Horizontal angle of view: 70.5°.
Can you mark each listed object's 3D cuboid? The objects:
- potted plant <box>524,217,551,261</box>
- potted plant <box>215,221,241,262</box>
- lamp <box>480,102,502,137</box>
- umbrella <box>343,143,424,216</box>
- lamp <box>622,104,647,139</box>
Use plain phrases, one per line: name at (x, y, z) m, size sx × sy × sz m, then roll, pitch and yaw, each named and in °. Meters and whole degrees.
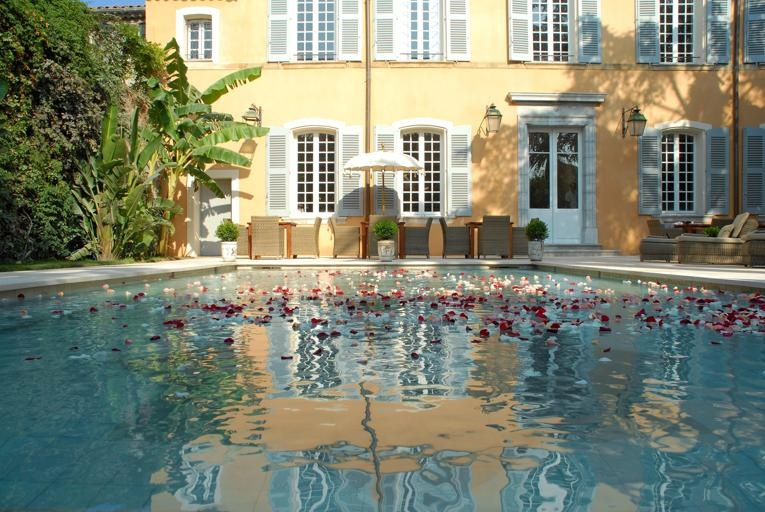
potted plant at (3.475, -0.365, 12.244) m, size 0.475 × 0.954 × 0.835 m, roll 2°, pitch 7°, yaw 14°
potted plant at (-3.771, -0.377, 13.158) m, size 0.492 × 0.931 × 1.642 m, roll -1°, pitch 7°, yaw -15°
lamp at (2.889, -3.672, 14.496) m, size 0.576 × 0.844 × 0.591 m, roll 1°, pitch 7°, yaw 9°
umbrella at (0.083, -2.288, 13.774) m, size 2.157 × 1.034 × 2.218 m, roll 0°, pitch 6°, yaw -3°
lamp at (6.703, -3.658, 14.434) m, size 0.553 × 0.816 × 1.107 m, roll 3°, pitch 7°, yaw 17°
